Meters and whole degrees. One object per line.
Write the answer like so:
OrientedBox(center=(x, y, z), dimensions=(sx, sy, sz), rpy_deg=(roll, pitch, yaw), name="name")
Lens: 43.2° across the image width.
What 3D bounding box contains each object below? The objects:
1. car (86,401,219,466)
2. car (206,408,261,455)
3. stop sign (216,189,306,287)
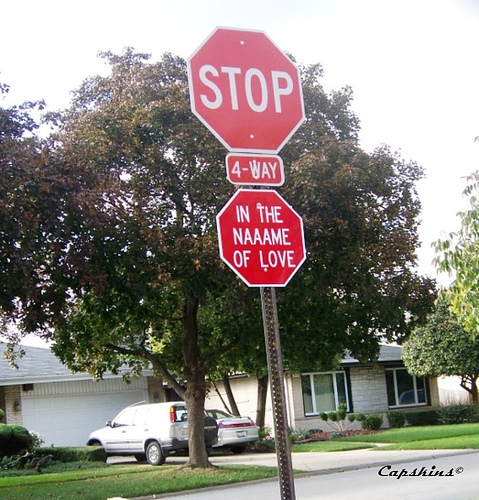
OrientedBox(center=(-2.938, 5.429, 18.087), dimensions=(0.662, 1.661, 4.190), rpy_deg=(5, -15, -38), name="car")
OrientedBox(center=(-0.309, 5.525, 18.573), dimensions=(0.963, 0.690, 2.064), rpy_deg=(1, -10, -21), name="car")
OrientedBox(center=(0.121, -0.063, 3.147), dimensions=(0.518, 0.527, 0.016), rpy_deg=(1, 14, 29), name="stop sign")
